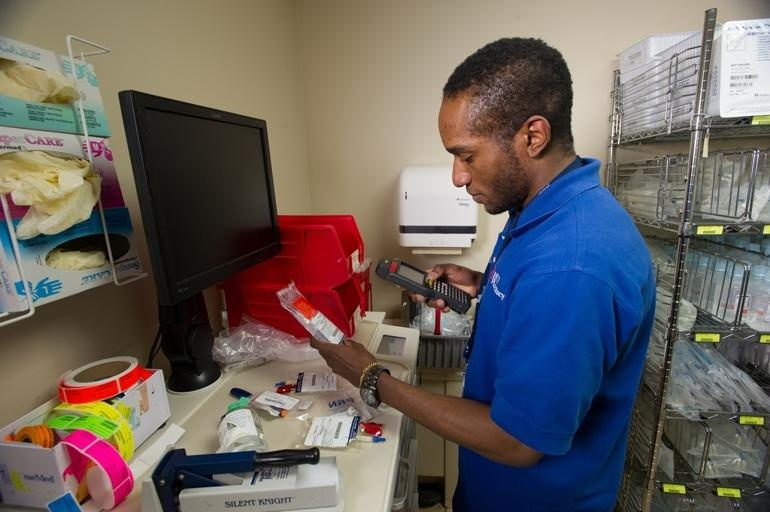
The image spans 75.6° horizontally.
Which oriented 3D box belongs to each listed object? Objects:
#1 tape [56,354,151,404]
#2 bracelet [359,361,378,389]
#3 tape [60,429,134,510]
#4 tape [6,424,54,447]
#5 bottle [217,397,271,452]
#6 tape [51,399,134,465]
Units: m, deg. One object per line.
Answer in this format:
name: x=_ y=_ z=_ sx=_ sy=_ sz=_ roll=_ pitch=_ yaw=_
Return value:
tape: x=-0.862 y=0.377 z=1.498 sx=0.212 sy=0.054 sz=0.230 roll=-12 pitch=10 yaw=-33
bracelet: x=-0.054 y=0.370 z=1.508 sx=0.019 sy=0.071 sz=0.052 roll=31 pitch=15 yaw=6
tape: x=-0.768 y=0.580 z=1.335 sx=0.156 sy=0.221 sz=0.085 roll=-7 pitch=11 yaw=-30
tape: x=-0.945 y=0.489 z=1.334 sx=0.077 sy=0.023 sz=0.077 roll=3 pitch=20 yaw=-5
bottle: x=-0.406 y=0.442 z=1.415 sx=0.121 sy=0.140 sz=0.177 roll=-1 pitch=21 yaw=-25
tape: x=-0.821 y=0.528 z=1.453 sx=0.297 sy=0.120 sz=0.225 roll=21 pitch=-32 yaw=-24
